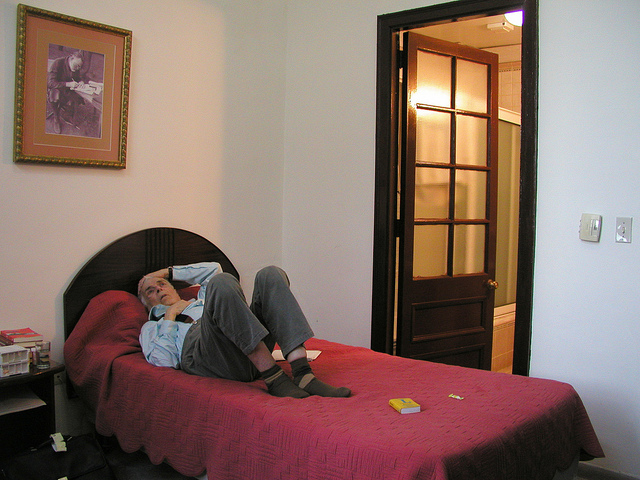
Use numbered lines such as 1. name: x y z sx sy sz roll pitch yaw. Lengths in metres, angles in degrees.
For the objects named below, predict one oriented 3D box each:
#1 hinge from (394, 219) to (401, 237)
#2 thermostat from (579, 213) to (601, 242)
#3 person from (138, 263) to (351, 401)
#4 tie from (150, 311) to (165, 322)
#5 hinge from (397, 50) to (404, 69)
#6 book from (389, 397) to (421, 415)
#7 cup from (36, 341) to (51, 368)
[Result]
1. hinge: 0.571 -0.088 3.524 0.043 0.128 0.044 2 8 13
2. thermostat: 1.583 -0.075 2.803 0.020 0.207 0.145 0 4 -41
3. person: -0.520 0.411 2.668 1.147 0.564 0.611 -2 -2 39
4. tie: -0.991 0.459 2.894 0.058 0.059 0.060 2 -4 -14
5. hinge: 0.591 -1.333 3.510 0.049 0.132 0.034 2 8 15
6. book: 0.368 0.714 2.085 0.110 0.030 0.139 -4 8 -24
7. cup: -1.503 0.619 2.599 0.064 0.131 0.107 -5 9 -32
